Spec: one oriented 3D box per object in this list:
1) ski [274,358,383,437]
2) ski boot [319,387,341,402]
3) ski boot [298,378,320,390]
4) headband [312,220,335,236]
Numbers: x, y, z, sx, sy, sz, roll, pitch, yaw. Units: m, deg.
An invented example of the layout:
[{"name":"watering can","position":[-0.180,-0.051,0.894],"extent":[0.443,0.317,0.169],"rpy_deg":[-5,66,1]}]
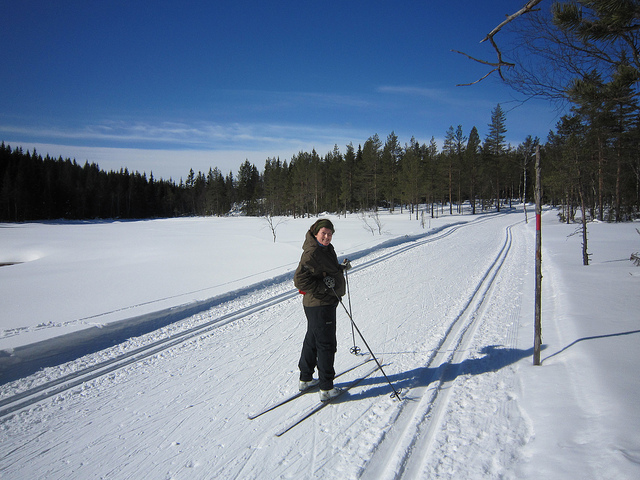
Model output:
[{"name":"ski","position":[0.132,2.548,7.073],"extent":[0.243,0.191,2.356],"rpy_deg":[16,29,42]},{"name":"ski boot","position":[0.161,2.481,7.220],"extent":[0.395,0.194,0.135],"rpy_deg":[-11,1,-26]},{"name":"ski boot","position":[-0.181,2.373,7.424],"extent":[0.367,0.181,0.135],"rpy_deg":[-6,4,-32]},{"name":"headband","position":[0.070,-0.244,7.316],"extent":[0.212,0.308,0.147],"rpy_deg":[-4,-3,4]}]
